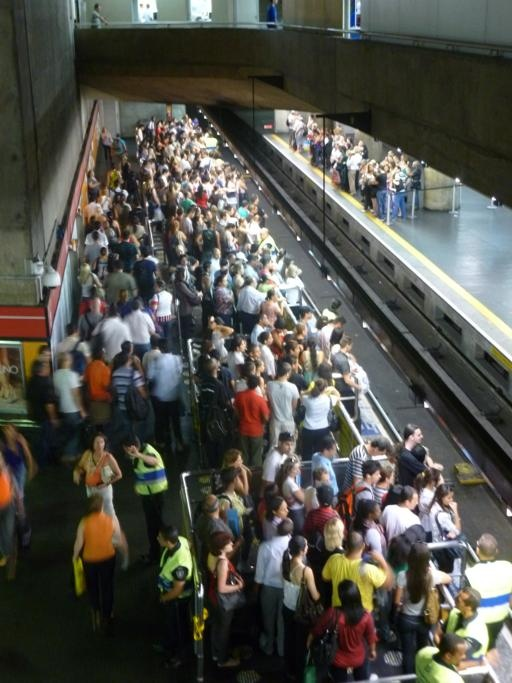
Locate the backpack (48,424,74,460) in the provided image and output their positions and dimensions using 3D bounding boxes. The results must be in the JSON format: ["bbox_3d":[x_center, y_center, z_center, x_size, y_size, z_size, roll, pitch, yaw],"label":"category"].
[{"bbox_3d":[-2.297,1.147,6.312,0.239,0.438,0.281,-6,27,-19],"label":"backpack"}]

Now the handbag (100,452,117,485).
[{"bbox_3d":[-1.355,1.163,4.958,0.116,0.253,0.175,7,-8,-4],"label":"handbag"}]

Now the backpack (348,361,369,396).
[{"bbox_3d":[1.420,0.489,7.275,0.178,0.445,0.340,-29,12,15],"label":"backpack"}]

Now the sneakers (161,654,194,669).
[{"bbox_3d":[-0.613,2.509,4.255,0.233,0.079,0.117,-2,14,-3],"label":"sneakers"}]

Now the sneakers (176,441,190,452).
[{"bbox_3d":[-1.002,1.448,7.461,0.127,0.145,0.122,-27,30,-34],"label":"sneakers"}]
